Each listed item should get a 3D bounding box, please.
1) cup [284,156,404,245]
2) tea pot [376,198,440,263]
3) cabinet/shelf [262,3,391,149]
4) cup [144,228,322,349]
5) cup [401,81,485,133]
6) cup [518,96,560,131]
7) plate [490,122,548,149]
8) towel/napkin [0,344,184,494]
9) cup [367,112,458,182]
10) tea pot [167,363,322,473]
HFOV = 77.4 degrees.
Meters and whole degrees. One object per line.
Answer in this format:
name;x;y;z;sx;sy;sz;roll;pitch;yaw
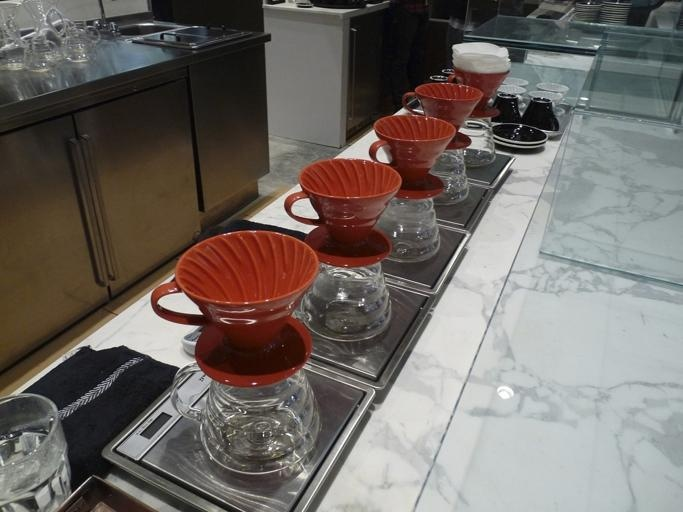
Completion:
cup;0.002;-0.106;0.602;0.148;0.084;0.150;1;31;0
tea pot;0.131;-0.053;0.874;0.132;0.112;0.124;0;29;0
cabinet/shelf;-0.179;-1.528;3.551;0.827;0.984;0.792;18;42;18
cup;-0.102;0.047;0.476;0.180;0.075;0.132;-6;32;-9
cup;0.223;-0.336;0.948;0.208;0.088;0.164;16;31;27
cup;0.648;-0.472;1.450;0.121;0.069;0.124;-1;34;1
plate;0.572;-0.381;1.373;0.178;0.055;0.125;12;39;14
towel/napkin;-0.334;0.212;0.579;0.155;0.037;0.151;29;45;26
cup;0.123;-0.211;0.766;0.141;0.071;0.143;0;28;0
tea pot;-0.108;0.189;0.560;0.171;0.136;0.122;-2;32;-2
